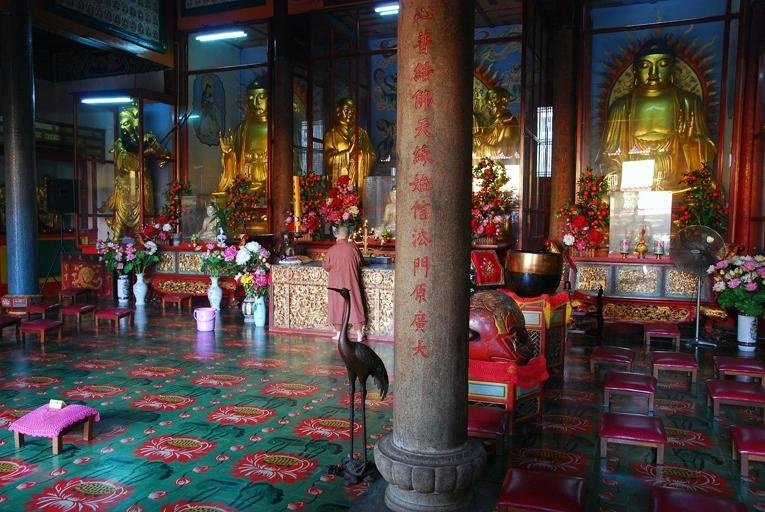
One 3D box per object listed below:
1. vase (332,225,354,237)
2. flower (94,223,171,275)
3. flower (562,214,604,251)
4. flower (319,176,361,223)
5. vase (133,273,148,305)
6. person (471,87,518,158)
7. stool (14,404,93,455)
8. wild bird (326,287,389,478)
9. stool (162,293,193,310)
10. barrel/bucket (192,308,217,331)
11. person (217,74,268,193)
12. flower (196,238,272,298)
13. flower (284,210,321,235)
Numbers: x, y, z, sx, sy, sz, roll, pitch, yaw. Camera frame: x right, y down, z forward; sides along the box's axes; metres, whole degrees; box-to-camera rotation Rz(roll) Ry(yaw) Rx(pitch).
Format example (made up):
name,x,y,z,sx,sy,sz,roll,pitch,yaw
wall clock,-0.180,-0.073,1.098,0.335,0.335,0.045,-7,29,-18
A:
name,x,y,z,sx,sy,sz,roll,pitch,yaw
vase,-0.544,-0.324,7.851,0.220,0.154,0.199,-1,1,16
flower,-4.455,-0.126,10.546,1.227,0.919,0.623,-2,2,-24
flower,3.156,-0.382,9.288,0.585,0.571,0.552,0,2,12
flower,-0.640,-0.892,9.311,0.720,0.786,0.712,-3,-2,21
vase,-4.251,0.578,10.278,0.233,0.547,0.446,-2,2,-23
person,2.253,-2.662,11.707,0.837,1.441,0.441,0,2,11
stool,-2.848,1.404,5.045,0.469,0.230,0.471,3,8,17
wild bird,-0.209,0.986,5.073,0.471,1.502,1.317,-1,2,-2
stool,-3.543,0.758,10.076,0.338,0.229,0.335,0,-3,4
barrel/bucket,-2.535,0.897,8.359,0.274,0.326,0.301,-1,2,0
person,-2.767,-2.377,11.704,1.058,2.260,0.258,0,2,20
flower,-2.183,0.279,8.959,1.077,0.796,0.990,22,23,37
flower,-1.230,-0.585,9.986,0.518,0.317,0.464,-5,-3,32
